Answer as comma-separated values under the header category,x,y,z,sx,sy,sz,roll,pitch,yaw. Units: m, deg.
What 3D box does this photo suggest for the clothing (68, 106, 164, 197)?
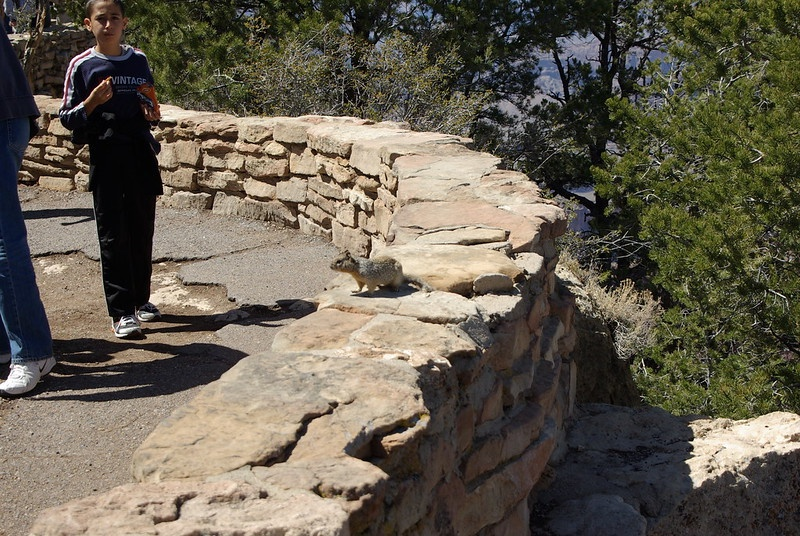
category,x,y,z,sx,sy,sz,roll,pitch,yaw
clothing,-2.480,-1.102,7.127,0.990,0.963,0.632,-1,13,-3

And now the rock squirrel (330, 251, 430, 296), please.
category,x,y,z,sx,sy,sz,roll,pitch,yaw
rock squirrel,-0.138,0.019,6.117,0.849,0.351,0.284,-3,11,-21
